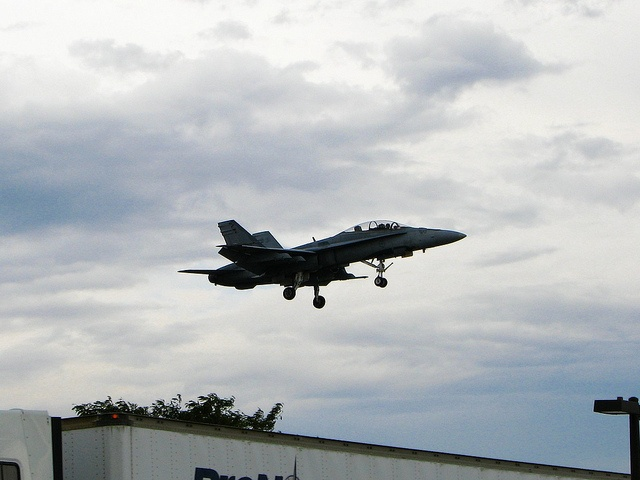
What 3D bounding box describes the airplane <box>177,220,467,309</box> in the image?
[{"bbox_3d":[-0.112,0.597,46.602,6.120,1.488,5.057,-11,-2,15],"label":"airplane"}]
